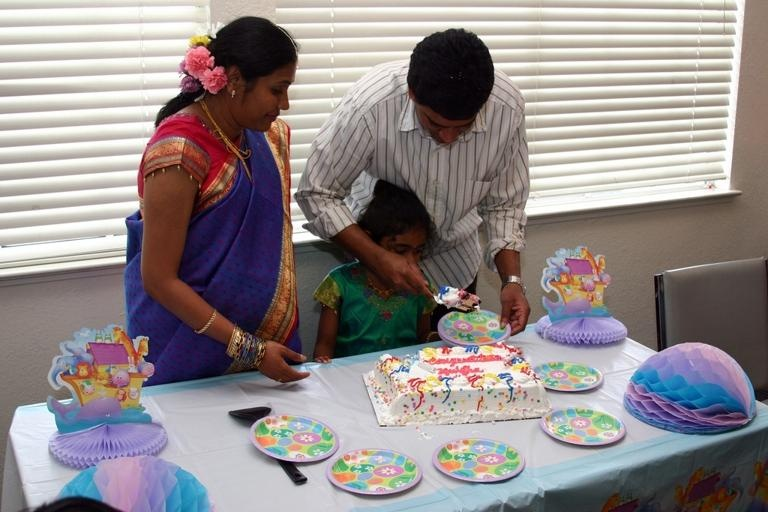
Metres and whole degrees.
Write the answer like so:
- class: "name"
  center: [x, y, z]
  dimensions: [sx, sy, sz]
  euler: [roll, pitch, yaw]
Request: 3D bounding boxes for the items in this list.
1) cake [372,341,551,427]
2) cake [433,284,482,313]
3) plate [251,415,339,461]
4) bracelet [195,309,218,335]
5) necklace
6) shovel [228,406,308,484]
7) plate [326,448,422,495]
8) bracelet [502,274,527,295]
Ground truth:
- class: "cake"
  center: [0.234, 0.444, 1.942]
  dimensions: [0.381, 0.106, 0.286]
  euler: [-2, 16, -5]
- class: "cake"
  center: [0.281, 0.171, 2.228]
  dimensions: [0.152, 0.061, 0.102]
  euler: [19, 49, -15]
- class: "plate"
  center: [-0.278, 0.561, 1.760]
  dimensions: [0.269, 0.034, 0.275]
  euler: [3, 13, -29]
- class: "bracelet"
  center: [-0.597, 0.228, 1.926]
  dimensions: [0.017, 0.074, 0.072]
  euler: [21, 13, 7]
- class: "necklace"
  center: [-0.553, -0.410, 2.061]
  dimensions: [0.113, 0.332, 0.022]
  euler: [-44, 34, -19]
- class: "shovel"
  center: [-0.344, 0.520, 1.726]
  dimensions: [0.125, 0.039, 0.347]
  euler: [-2, 20, -30]
- class: "plate"
  center: [-0.030, 0.627, 1.652]
  dimensions: [0.269, 0.065, 0.161]
  euler: [-3, 7, -2]
- class: "bracelet"
  center: [0.568, 0.136, 2.459]
  dimensions: [0.063, 0.099, 0.096]
  euler: [-20, 25, -20]
